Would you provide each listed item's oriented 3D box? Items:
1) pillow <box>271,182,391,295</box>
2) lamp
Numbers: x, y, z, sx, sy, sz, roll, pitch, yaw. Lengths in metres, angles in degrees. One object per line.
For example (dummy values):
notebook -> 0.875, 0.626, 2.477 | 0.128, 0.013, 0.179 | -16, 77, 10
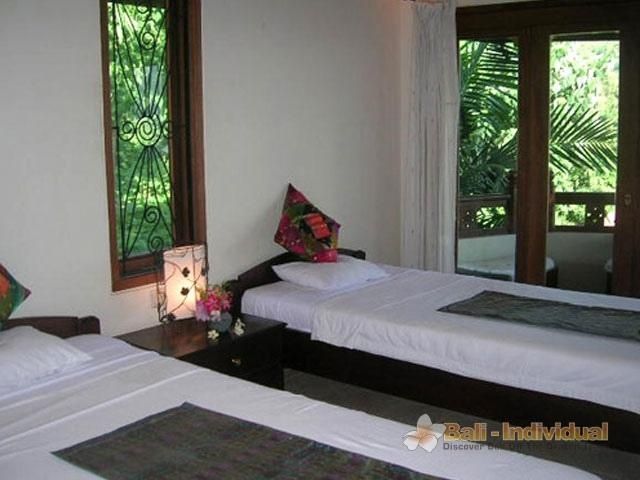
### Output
pillow -> 0.073, -0.057, 4.185 | 0.751, 0.801, 0.801 | 10, 12, 39
lamp -> -0.858, 0.263, 3.467 | 0.421, 0.611, 0.424 | 0, 7, 2
